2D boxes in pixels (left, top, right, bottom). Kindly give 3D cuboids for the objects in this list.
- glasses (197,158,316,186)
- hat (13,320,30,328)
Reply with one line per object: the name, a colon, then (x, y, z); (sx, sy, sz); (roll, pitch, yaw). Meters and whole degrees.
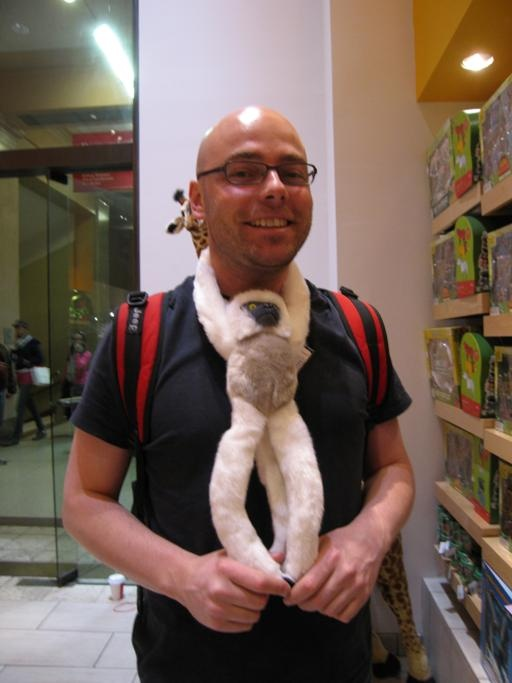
glasses: (-0.006, -0.333, 1.128); (0.226, 0.061, 0.103); (-2, 2, -7)
hat: (-1.318, -0.098, 3.116); (0.042, 0.057, 0.056); (9, -5, 16)
